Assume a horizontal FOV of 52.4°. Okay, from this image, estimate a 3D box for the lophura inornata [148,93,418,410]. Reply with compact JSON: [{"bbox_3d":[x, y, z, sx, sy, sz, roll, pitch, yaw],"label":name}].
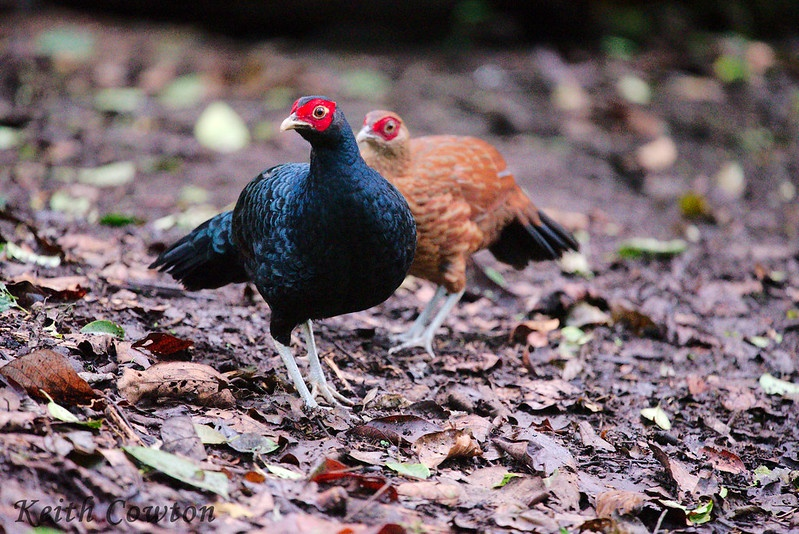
[{"bbox_3d":[-0.570,-0.098,5.259,1.125,1.970,0.521,19,16,17],"label":"lophura inornata"}]
